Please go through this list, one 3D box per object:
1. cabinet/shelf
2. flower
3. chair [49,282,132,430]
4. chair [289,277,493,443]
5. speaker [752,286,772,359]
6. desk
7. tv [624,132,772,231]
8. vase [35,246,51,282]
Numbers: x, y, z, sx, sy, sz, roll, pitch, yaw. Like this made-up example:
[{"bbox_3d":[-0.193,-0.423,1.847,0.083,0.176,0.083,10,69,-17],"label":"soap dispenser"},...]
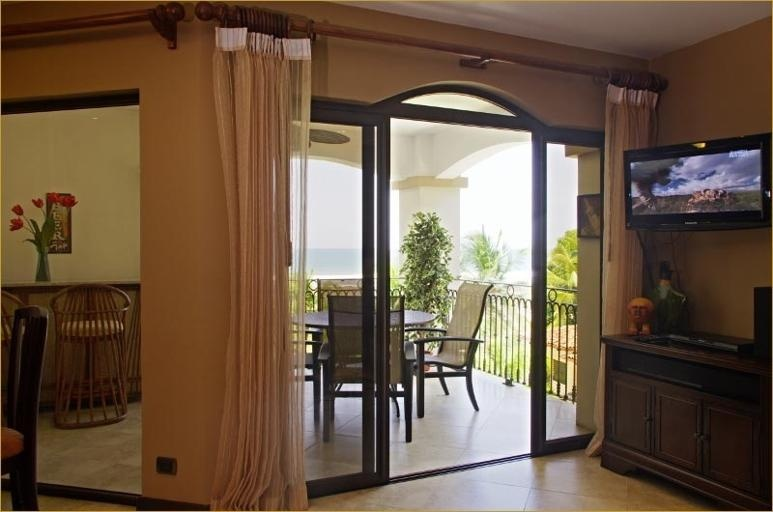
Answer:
[{"bbox_3d":[2.418,1.335,4.683,0.517,1.146,1.394,3,-3,-37],"label":"cabinet/shelf"},{"bbox_3d":[-3.574,-0.202,6.169,0.620,0.944,0.810,1,0,-32],"label":"flower"},{"bbox_3d":[-2.952,0.954,5.876,0.698,1.340,0.871,0,0,-24],"label":"chair"},{"bbox_3d":[0.230,0.902,5.352,1.823,1.317,1.087,3,-4,-43],"label":"chair"},{"bbox_3d":[2.869,0.514,4.495,0.108,0.535,0.052,1,0,27],"label":"speaker"},{"bbox_3d":[-2.963,0.846,5.476,1.372,1.249,0.564,0,-2,-20],"label":"desk"},{"bbox_3d":[2.620,-0.597,4.908,0.904,0.623,0.092,0,2,27],"label":"tv"},{"bbox_3d":[-3.529,0.099,6.046,0.127,0.337,0.217,0,0,-31],"label":"vase"}]
